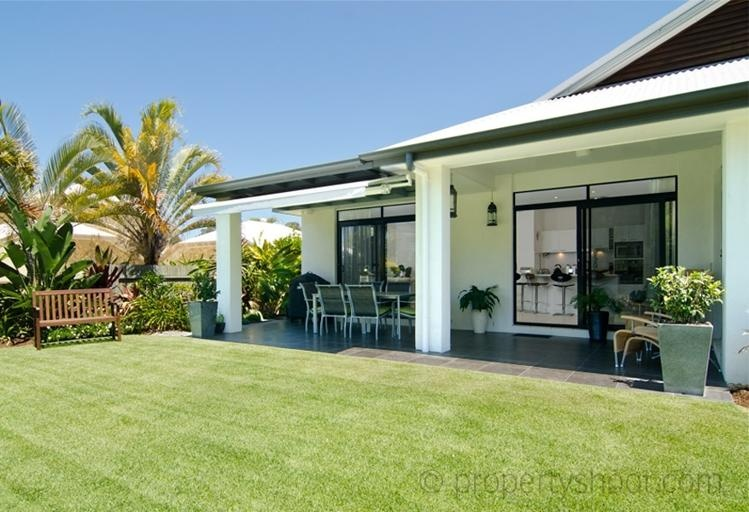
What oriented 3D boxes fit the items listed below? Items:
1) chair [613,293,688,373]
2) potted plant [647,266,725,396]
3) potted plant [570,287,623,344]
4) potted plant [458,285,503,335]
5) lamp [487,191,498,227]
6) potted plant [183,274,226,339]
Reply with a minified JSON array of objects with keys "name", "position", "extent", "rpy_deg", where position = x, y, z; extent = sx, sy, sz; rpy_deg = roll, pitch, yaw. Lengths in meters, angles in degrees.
[{"name":"chair","position":[5.148,1.552,9.980],"extent":[1.022,1.070,1.698],"rpy_deg":[-3,-2,37]},{"name":"potted plant","position":[5.403,1.146,8.968],"extent":[0.992,2.034,2.096],"rpy_deg":[4,9,33]},{"name":"potted plant","position":[5.463,1.432,12.689],"extent":[1.327,1.348,1.125],"rpy_deg":[0,-3,20]},{"name":"potted plant","position":[2.816,1.385,13.603],"extent":[0.902,1.192,0.610],"rpy_deg":[-3,8,-20]},{"name":"lamp","position":[3.125,-1.253,13.618],"extent":[0.272,0.933,0.401],"rpy_deg":[0,8,7]},{"name":"potted plant","position":[-4.389,1.269,13.427],"extent":[0.838,1.535,1.151],"rpy_deg":[-3,8,-20]}]
